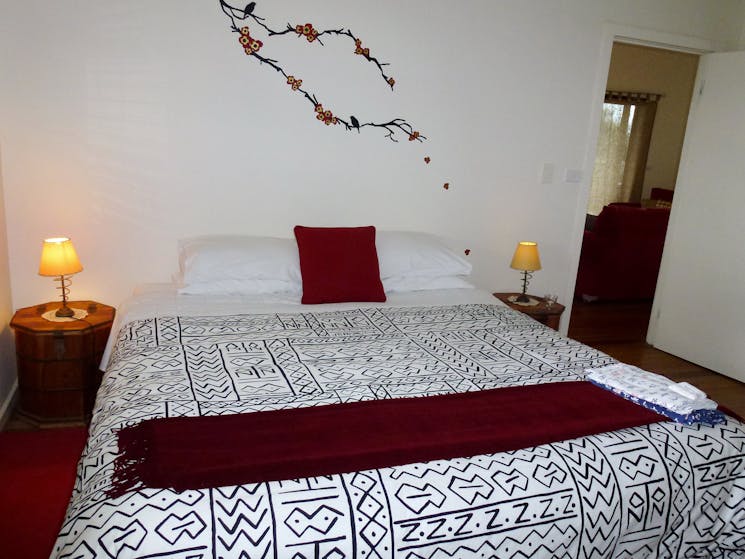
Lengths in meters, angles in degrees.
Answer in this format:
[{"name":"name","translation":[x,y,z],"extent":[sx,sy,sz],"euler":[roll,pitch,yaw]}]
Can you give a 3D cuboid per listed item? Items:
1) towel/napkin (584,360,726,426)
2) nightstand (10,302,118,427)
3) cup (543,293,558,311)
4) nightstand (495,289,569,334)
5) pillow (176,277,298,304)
[{"name":"towel/napkin","translation":[1.073,0.427,1.782],"extent":[0.238,0.065,0.283],"euler":[-2,13,-23]},{"name":"nightstand","translation":[-1.717,0.427,2.774],"extent":[0.610,0.625,0.595],"euler":[-5,21,-28]},{"name":"cup","translation":[1.310,0.155,3.388],"extent":[0.118,0.123,0.118],"euler":[-2,11,0]},{"name":"nightstand","translation":[1.151,0.179,3.345],"extent":[0.368,0.392,0.364],"euler":[11,21,31]},{"name":"pillow","translation":[-0.755,0.059,2.685],"extent":[0.667,0.127,0.093],"euler":[1,-17,-9]}]
